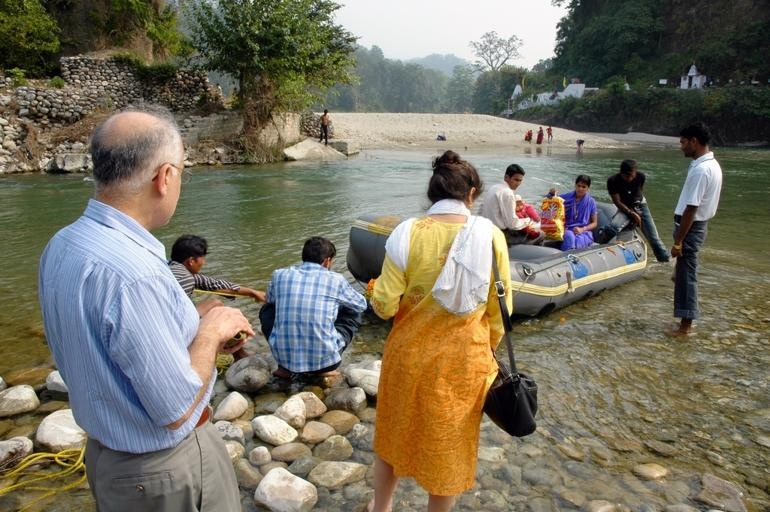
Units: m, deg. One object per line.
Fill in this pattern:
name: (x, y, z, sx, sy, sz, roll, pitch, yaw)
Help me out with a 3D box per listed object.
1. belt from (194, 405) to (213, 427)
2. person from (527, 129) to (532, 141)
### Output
belt: (-0.911, 0.816, 2.618, 0.038, 0.071, 0.055, 22, 1, 40)
person: (11.320, -9.349, 40.558, 0.384, 0.809, 1.029, 3, 17, 8)
